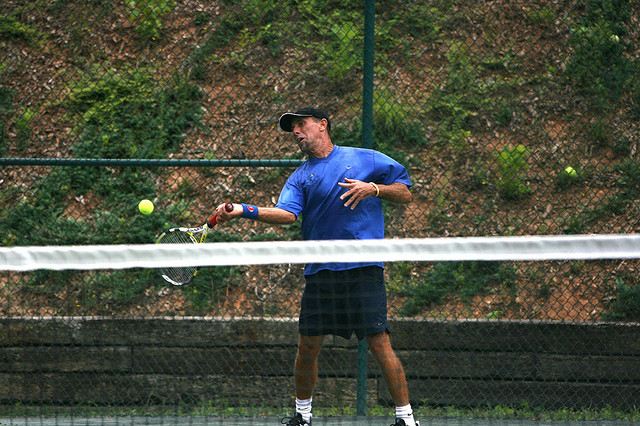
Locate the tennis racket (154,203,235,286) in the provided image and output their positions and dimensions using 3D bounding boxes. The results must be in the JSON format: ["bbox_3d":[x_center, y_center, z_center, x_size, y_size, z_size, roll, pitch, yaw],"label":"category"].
[{"bbox_3d":[-1.404,0.340,12.612,0.127,1.217,0.602,-15,61,-49],"label":"tennis racket"}]

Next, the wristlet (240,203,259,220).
[{"bbox_3d":[-0.748,-0.040,12.166,0.167,0.177,0.137,6,-14,-28],"label":"wristlet"}]

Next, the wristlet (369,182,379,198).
[{"bbox_3d":[0.542,-0.247,12.148,0.025,0.118,0.115,-13,59,-4],"label":"wristlet"}]

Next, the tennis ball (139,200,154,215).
[{"bbox_3d":[-1.986,-0.059,13.213,0.125,0.147,0.134,0,9,0],"label":"tennis ball"}]
